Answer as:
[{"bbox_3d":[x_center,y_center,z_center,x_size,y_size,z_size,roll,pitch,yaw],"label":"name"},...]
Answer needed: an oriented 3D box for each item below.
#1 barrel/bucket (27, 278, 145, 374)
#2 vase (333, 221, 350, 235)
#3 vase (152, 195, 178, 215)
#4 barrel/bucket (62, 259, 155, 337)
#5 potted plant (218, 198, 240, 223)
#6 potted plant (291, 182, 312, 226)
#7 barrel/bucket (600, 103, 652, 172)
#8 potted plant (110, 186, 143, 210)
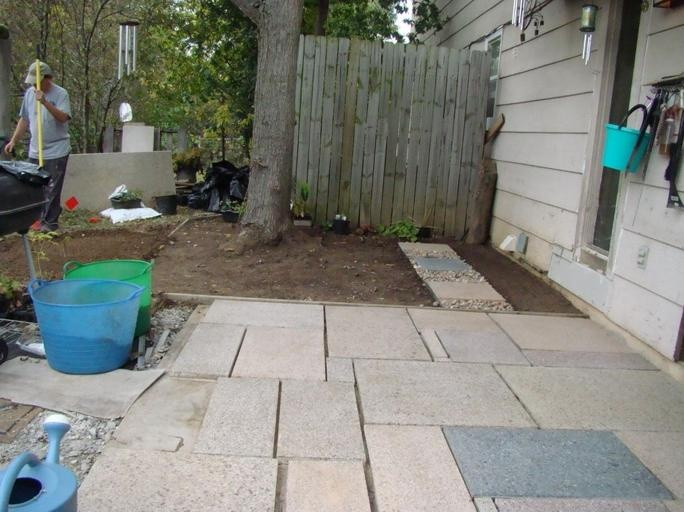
[{"bbox_3d":[-1.567,0.424,3.153,0.576,0.458,0.656,3,5,9],"label":"barrel/bucket"},{"bbox_3d":[-0.010,-0.395,6.660,0.278,0.210,0.160,1,4,11],"label":"vase"},{"bbox_3d":[-2.734,-0.810,7.644,0.354,0.293,0.268,-10,20,-36],"label":"vase"},{"bbox_3d":[-1.684,0.160,3.530,0.632,0.602,0.588,4,15,-1],"label":"barrel/bucket"},{"bbox_3d":[-1.552,-0.631,6.909,0.299,0.150,0.447,3,27,-4],"label":"potted plant"},{"bbox_3d":[-0.559,-0.726,6.679,0.258,0.533,0.342,1,16,-4],"label":"potted plant"},{"bbox_3d":[2.109,-0.871,3.622,0.285,0.494,0.260,2,16,0],"label":"barrel/bucket"},{"bbox_3d":[-3.238,-0.840,7.299,0.390,0.278,0.378,0,11,-26],"label":"potted plant"}]
